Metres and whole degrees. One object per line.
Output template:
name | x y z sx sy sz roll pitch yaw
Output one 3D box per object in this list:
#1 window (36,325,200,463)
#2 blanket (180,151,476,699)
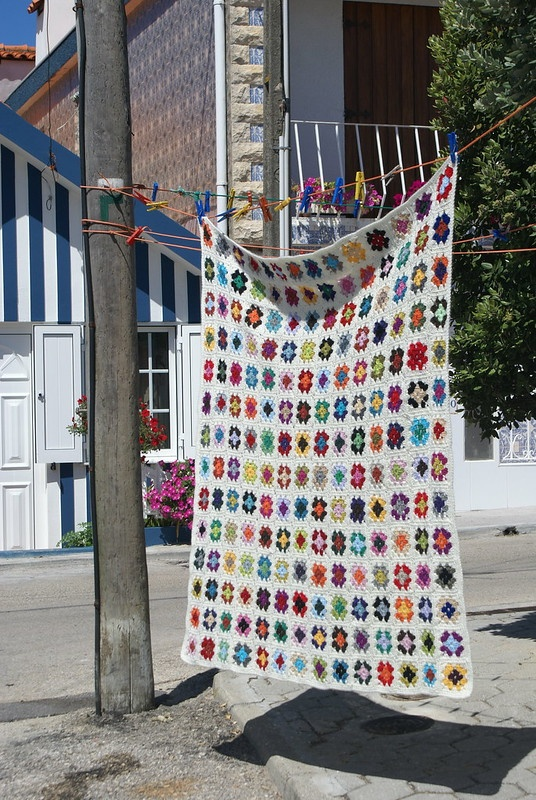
window | -1.438 -0.053 12.446 1.331 1.306 0.134 0 -1 -15
blanket | 0.308 0.157 6.911 1.735 1.919 0.419 -2 1 36
